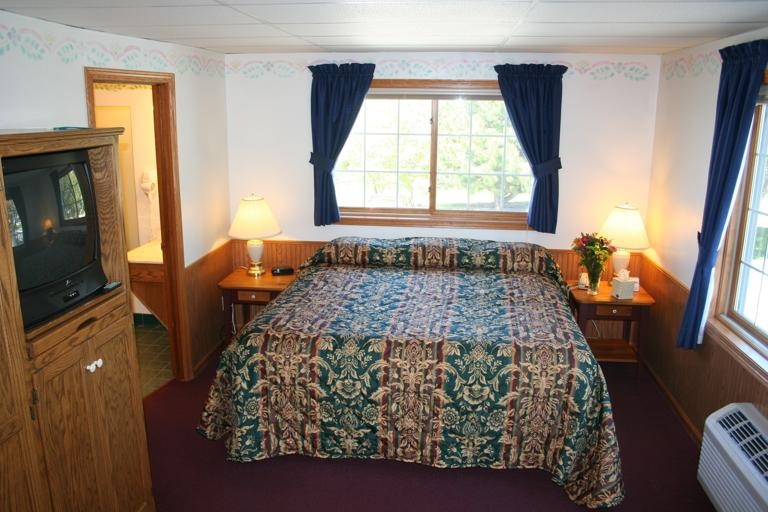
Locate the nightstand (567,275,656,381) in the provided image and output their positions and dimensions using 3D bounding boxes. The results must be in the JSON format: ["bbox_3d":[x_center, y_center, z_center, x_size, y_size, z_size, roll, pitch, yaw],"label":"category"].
[{"bbox_3d":[2.244,0.707,5.441,0.797,1.028,0.807,0,9,7],"label":"nightstand"}]

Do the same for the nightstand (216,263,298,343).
[{"bbox_3d":[-1.284,0.592,5.529,0.644,0.623,0.484,1,6,0],"label":"nightstand"}]

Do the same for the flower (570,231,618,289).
[{"bbox_3d":[2.020,0.001,5.150,0.486,0.598,0.486,-7,9,-39],"label":"flower"}]

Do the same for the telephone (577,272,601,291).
[{"bbox_3d":[1.991,0.258,5.195,0.173,0.202,0.176,-1,10,-2],"label":"telephone"}]
